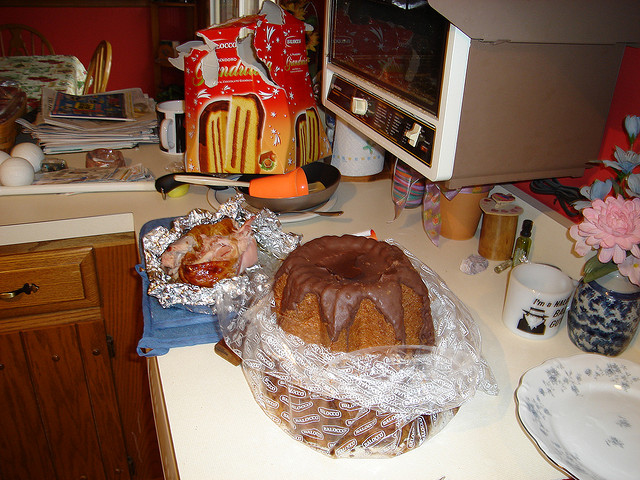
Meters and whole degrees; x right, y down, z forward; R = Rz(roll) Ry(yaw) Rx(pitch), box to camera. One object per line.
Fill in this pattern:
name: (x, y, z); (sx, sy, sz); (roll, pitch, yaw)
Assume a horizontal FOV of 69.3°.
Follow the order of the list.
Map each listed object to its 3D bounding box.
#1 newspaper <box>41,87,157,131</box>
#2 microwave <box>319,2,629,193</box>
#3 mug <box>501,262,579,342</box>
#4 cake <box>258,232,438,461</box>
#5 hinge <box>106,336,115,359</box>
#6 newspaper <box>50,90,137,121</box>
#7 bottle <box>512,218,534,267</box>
newspaper: (-0.789, -0.463, 1.647); (0.294, 0.123, 0.335); (-9, 34, -17)
microwave: (0.266, -0.203, 1.009); (0.380, 0.386, 0.569); (-4, 38, -20)
mug: (0.416, 0.110, 0.893); (0.105, 0.112, 0.142); (16, 30, 26)
cake: (0.047, 0.111, 0.710); (0.271, 0.168, 0.290); (8, 38, -1)
hinge: (-0.583, 0.299, 1.290); (0.018, 0.068, 0.010); (-10, 28, -20)
newspaper: (-0.806, -0.473, 1.646); (0.204, 0.074, 0.222); (-16, 33, -28)
bottle: (0.454, -0.007, 1.021); (0.034, 0.106, 0.106); (13, 30, 23)
